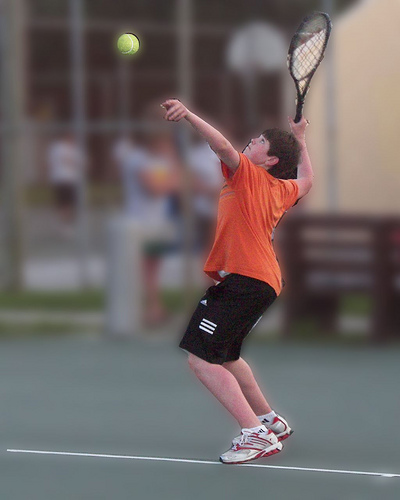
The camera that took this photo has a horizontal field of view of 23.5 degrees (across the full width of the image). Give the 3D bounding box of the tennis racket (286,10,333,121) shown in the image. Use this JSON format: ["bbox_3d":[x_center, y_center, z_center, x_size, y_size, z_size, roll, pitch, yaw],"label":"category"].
[{"bbox_3d":[0.452,-0.754,3.955,0.179,0.435,0.159,-1,14,4],"label":"tennis racket"}]

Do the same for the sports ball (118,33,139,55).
[{"bbox_3d":[-0.310,-0.883,4.111,0.089,0.084,0.086,-2,14,0],"label":"sports ball"}]

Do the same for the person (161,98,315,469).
[{"bbox_3d":[0.230,0.121,3.835,0.389,1.480,0.667,9,18,38],"label":"person"}]
